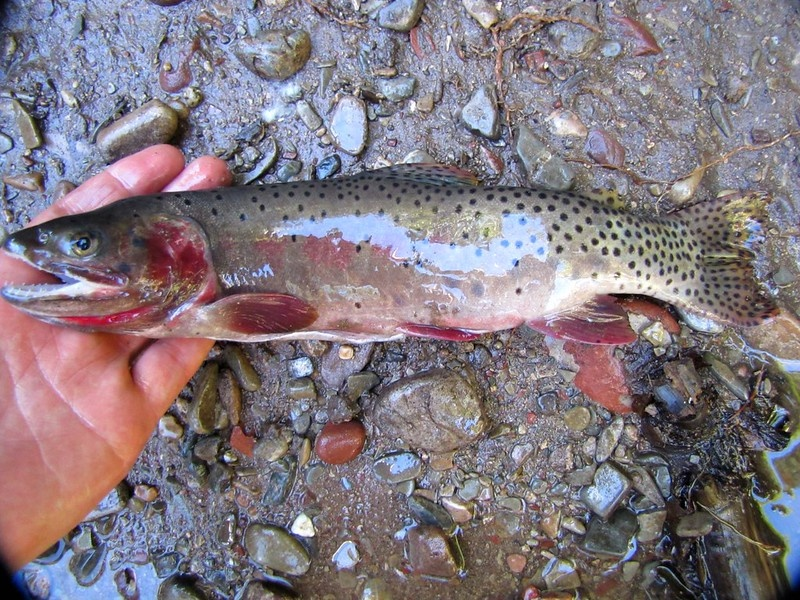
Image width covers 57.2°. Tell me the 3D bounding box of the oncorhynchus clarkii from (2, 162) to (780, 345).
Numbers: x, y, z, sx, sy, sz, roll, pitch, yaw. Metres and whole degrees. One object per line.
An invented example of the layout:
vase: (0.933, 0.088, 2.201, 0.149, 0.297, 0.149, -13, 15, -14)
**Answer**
oncorhynchus clarkii: (-0.046, -0.288, 4.794, 4.667, 0.516, 1.093, 1, 83, 1)
